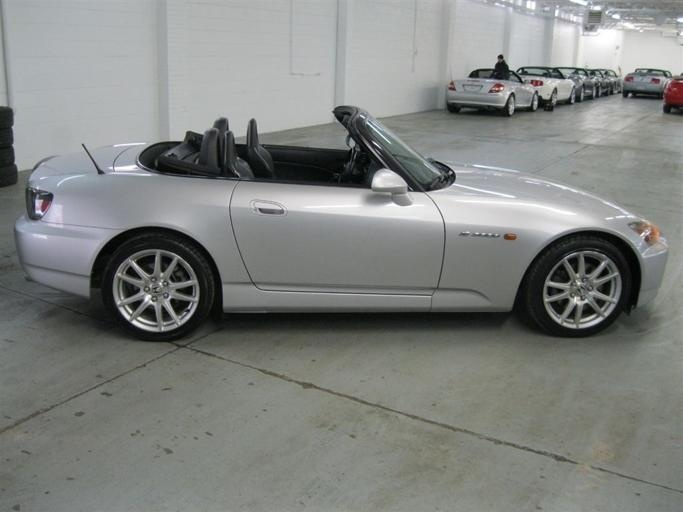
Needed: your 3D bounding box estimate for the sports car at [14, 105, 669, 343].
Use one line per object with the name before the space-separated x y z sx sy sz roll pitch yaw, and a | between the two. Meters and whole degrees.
sports car | 0.129 -0.177 3.874 4.765 1.735 2.247 -1 13 -2
